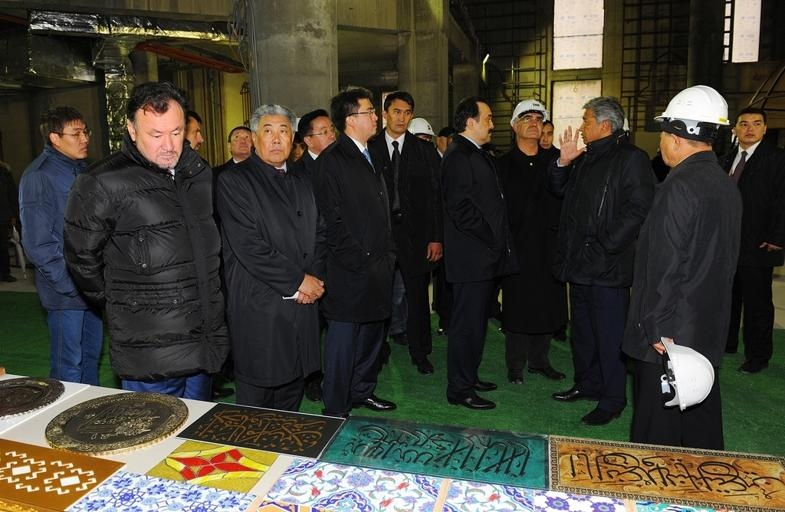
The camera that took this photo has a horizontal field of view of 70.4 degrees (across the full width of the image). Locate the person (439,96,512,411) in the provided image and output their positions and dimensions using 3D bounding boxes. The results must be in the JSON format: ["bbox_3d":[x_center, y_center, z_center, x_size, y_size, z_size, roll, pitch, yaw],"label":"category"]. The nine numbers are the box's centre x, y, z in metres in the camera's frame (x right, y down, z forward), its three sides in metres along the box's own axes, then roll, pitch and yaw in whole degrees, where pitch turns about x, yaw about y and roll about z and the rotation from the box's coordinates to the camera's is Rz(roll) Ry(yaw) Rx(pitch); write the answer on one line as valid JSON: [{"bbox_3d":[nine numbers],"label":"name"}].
[{"bbox_3d":[0.623,-0.019,4.261,0.544,2.340,0.561,3,14,14],"label":"person"}]

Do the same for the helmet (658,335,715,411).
[{"bbox_3d":[1.506,0.640,2.886,0.228,0.419,0.556,6,14,25],"label":"helmet"}]

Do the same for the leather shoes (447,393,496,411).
[{"bbox_3d":[0.612,1.126,4.349,0.391,0.122,0.133,-1,4,14],"label":"leather shoes"}]

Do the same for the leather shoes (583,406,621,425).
[{"bbox_3d":[1.567,1.184,4.142,0.327,0.081,0.113,-4,11,-24],"label":"leather shoes"}]

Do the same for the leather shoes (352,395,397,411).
[{"bbox_3d":[-0.120,1.138,4.321,0.356,0.122,0.120,-4,-4,5],"label":"leather shoes"}]

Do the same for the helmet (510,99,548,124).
[{"bbox_3d":[1.112,-1.205,4.635,0.287,0.165,0.373,-2,9,-4],"label":"helmet"}]

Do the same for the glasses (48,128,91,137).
[{"bbox_3d":[-2.311,-0.887,3.991,0.138,0.036,0.128,2,6,23],"label":"glasses"}]

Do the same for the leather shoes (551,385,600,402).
[{"bbox_3d":[1.436,1.088,4.436,0.366,0.128,0.126,3,0,4],"label":"leather shoes"}]

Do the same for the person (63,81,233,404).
[{"bbox_3d":[-1.310,-0.122,2.983,0.769,1.571,0.410,-7,15,-27],"label":"person"}]

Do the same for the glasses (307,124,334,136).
[{"bbox_3d":[-0.590,-1.028,4.504,0.149,0.039,0.143,-4,3,-36],"label":"glasses"}]

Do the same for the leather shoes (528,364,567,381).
[{"bbox_3d":[1.344,1.016,4.854,0.294,0.098,0.118,5,15,28],"label":"leather shoes"}]

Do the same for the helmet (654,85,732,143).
[{"bbox_3d":[1.767,-0.866,3.266,0.316,0.249,0.429,-18,33,-39],"label":"helmet"}]
